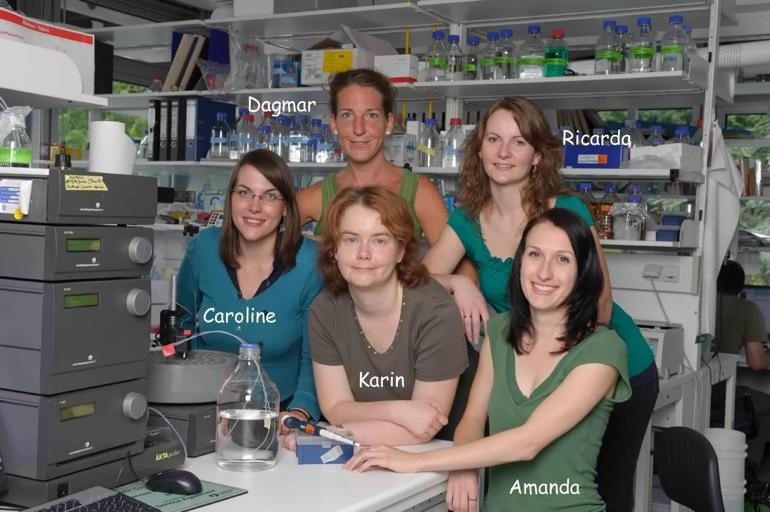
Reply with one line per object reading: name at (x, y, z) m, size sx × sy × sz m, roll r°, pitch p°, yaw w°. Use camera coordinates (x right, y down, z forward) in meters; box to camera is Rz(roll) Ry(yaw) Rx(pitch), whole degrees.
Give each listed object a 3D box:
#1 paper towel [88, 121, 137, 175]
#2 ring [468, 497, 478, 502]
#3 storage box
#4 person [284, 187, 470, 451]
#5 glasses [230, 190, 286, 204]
paper towel at (-0.798, -0.307, 1.800) m, size 0.157 × 0.161 × 0.122 m, roll 0°, pitch -1°, yaw -3°
ring at (0.261, 0.726, 1.877) m, size 0.017 × 0.008 × 0.023 m, roll -5°, pitch 2°, yaw 9°
storage box at (-0.213, -1.278, 4.083) m, size 0.452 × 0.319 × 0.541 m, roll 9°, pitch 17°, yaw 30°
person at (-0.008, 0.215, 2.086) m, size 0.502 × 0.817 × 0.701 m, roll -8°, pitch 16°, yaw -14°
glasses at (-0.457, -0.214, 2.263) m, size 0.174 × 0.045 × 0.053 m, roll 0°, pitch 4°, yaw -10°
